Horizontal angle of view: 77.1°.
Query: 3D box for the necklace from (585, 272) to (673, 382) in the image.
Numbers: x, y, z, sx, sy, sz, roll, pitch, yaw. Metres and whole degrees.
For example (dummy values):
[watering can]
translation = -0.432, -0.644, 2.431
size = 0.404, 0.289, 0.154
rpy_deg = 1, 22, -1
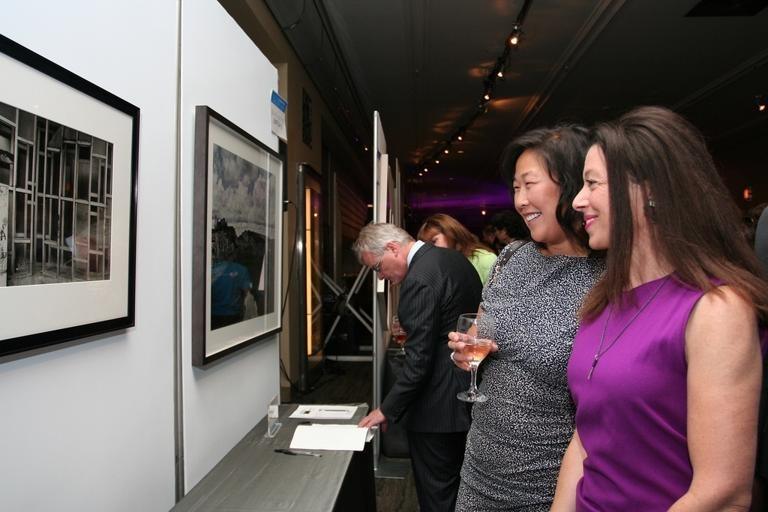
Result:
[necklace]
translation = 0.652, 0.162, 1.273
size = 0.017, 0.353, 0.106
rpy_deg = 45, -17, -24
